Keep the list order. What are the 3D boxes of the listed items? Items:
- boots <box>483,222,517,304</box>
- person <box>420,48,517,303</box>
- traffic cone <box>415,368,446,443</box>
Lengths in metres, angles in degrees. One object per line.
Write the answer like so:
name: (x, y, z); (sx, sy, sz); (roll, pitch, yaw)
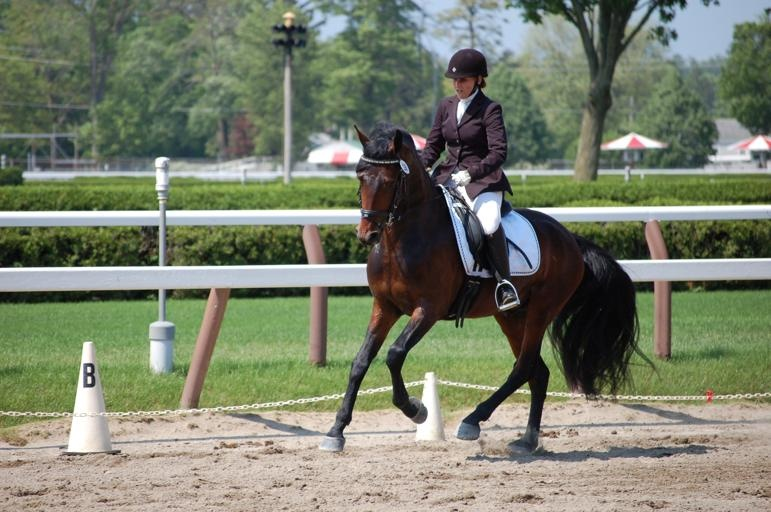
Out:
boots: (1.616, 0.202, 24.843); (0.434, 1.152, 0.234); (-2, 3, 1)
person: (1.142, -1.150, 25.388); (1.048, 4.028, 1.507); (1, 0, 6)
traffic cone: (0.585, 2.144, 25.235); (0.434, 0.927, 0.451); (1, 0, -13)
